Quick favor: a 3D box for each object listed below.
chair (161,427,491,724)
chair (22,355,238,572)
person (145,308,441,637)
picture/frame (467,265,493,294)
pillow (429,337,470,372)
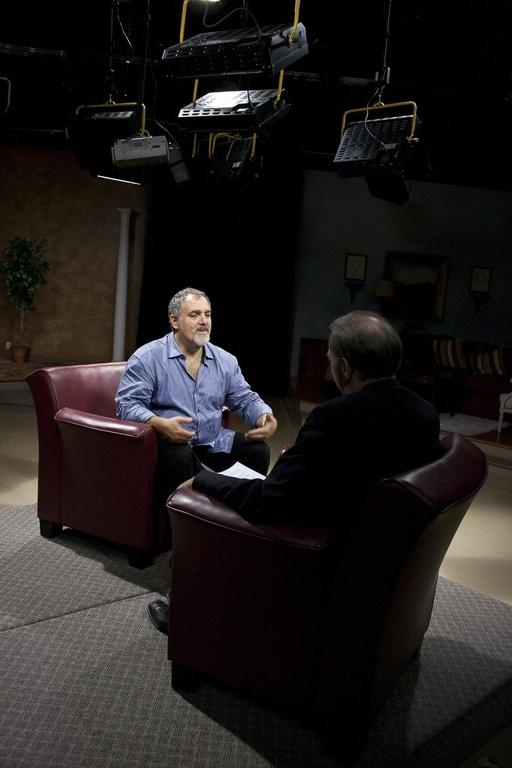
[{"bbox_3d":[0.204,0.450,1.627,0.717,0.761,0.784,7,13,23],"label":"chair"},{"bbox_3d":[-0.652,0.357,2.655,0.796,0.781,0.896,0,7,-39],"label":"chair"},{"bbox_3d":[0.090,0.308,1.544,0.517,0.977,0.750,5,1,-43],"label":"person"},{"bbox_3d":[3.482,-1.619,8.253,0.407,0.568,0.057,2,5,3],"label":"picture/frame"},{"bbox_3d":[2.587,-0.389,7.070,0.417,0.427,0.139,-1,-2,37],"label":"pillow"}]
